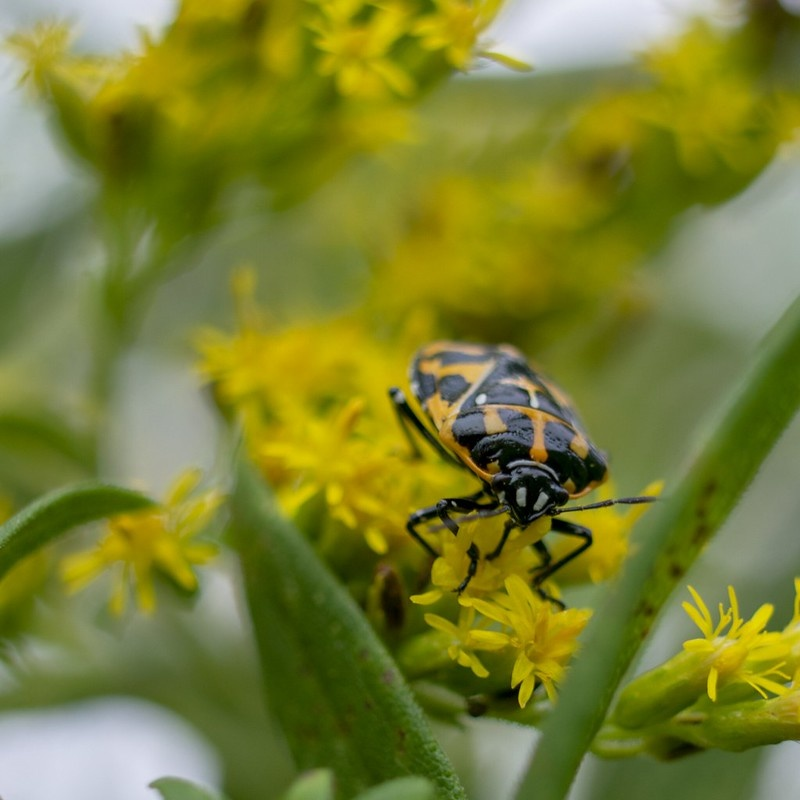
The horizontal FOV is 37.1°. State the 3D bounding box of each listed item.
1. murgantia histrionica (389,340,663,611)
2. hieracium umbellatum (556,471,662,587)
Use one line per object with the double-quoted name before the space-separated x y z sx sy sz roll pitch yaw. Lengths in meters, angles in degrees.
"murgantia histrionica" 0.139 0.054 1.480 0.256 0.120 0.350 10 42 -22
"hieracium umbellatum" 0.251 0.156 1.495 0.115 0.145 0.135 -2 96 11
